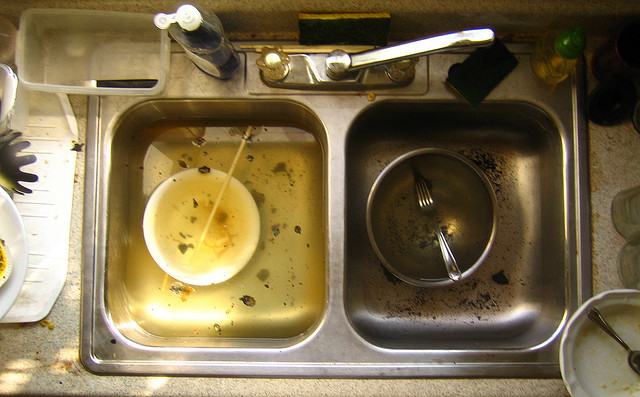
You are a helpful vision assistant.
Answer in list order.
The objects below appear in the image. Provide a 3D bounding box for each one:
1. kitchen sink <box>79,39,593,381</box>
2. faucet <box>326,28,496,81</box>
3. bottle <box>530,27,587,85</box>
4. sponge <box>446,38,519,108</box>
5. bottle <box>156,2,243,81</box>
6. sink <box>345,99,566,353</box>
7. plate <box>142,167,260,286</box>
[{"bbox_3d":[0.059,0.033,1.862,1.709,0.199,1.123,0,83,0],"label":"kitchen sink"},{"bbox_3d":[0.288,-0.470,1.759,0.548,0.185,0.090,-8,74,-5],"label":"faucet"},{"bbox_3d":[0.778,-0.478,1.772,0.128,0.139,0.168,-16,84,-1],"label":"bottle"},{"bbox_3d":[0.539,-0.419,1.840,0.256,0.058,0.171,-43,93,-2],"label":"sponge"},{"bbox_3d":[-0.395,-0.512,1.748,0.118,0.268,0.107,0,87,2],"label":"bottle"},{"bbox_3d":[0.461,0.090,1.866,0.736,0.181,0.841,0,83,0],"label":"sink"},{"bbox_3d":[-0.419,0.095,1.859,0.435,0.087,0.408,-21,96,-3],"label":"plate"}]
